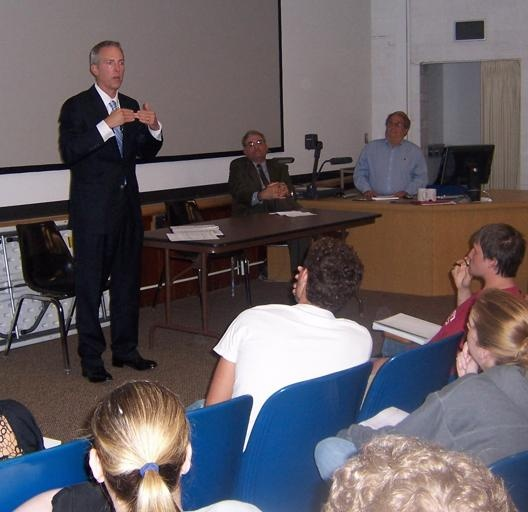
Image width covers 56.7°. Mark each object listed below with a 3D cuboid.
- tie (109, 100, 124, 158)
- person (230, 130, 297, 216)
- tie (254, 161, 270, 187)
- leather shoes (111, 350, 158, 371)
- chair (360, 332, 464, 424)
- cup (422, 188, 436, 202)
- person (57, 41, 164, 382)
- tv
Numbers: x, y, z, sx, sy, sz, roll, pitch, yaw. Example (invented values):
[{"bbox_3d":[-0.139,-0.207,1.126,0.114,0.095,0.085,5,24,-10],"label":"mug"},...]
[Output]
[{"bbox_3d":[-0.871,-0.747,2.975,0.065,0.454,0.105,-5,0,-10],"label":"tie"},{"bbox_3d":[-0.018,-0.836,4.859,0.598,0.776,0.705,4,18,25],"label":"person"},{"bbox_3d":[-0.016,-0.810,4.901,0.072,0.373,0.092,-15,-15,-11],"label":"tie"},{"bbox_3d":[-0.848,0.661,3.279,0.315,0.182,0.126,2,4,5],"label":"leather shoes"},{"bbox_3d":[0.512,0.373,1.592,0.334,0.311,0.221,-18,-18,29],"label":"chair"},{"bbox_3d":[1.552,-0.582,4.658,0.170,0.112,0.201,1,18,16],"label":"cup"},{"bbox_3d":[-0.911,-0.207,3.002,0.622,2.052,0.435,-9,16,-25],"label":"person"},{"bbox_3d":[2.132,-0.870,5.096,0.470,0.593,0.269,-3,23,7],"label":"tv"}]
